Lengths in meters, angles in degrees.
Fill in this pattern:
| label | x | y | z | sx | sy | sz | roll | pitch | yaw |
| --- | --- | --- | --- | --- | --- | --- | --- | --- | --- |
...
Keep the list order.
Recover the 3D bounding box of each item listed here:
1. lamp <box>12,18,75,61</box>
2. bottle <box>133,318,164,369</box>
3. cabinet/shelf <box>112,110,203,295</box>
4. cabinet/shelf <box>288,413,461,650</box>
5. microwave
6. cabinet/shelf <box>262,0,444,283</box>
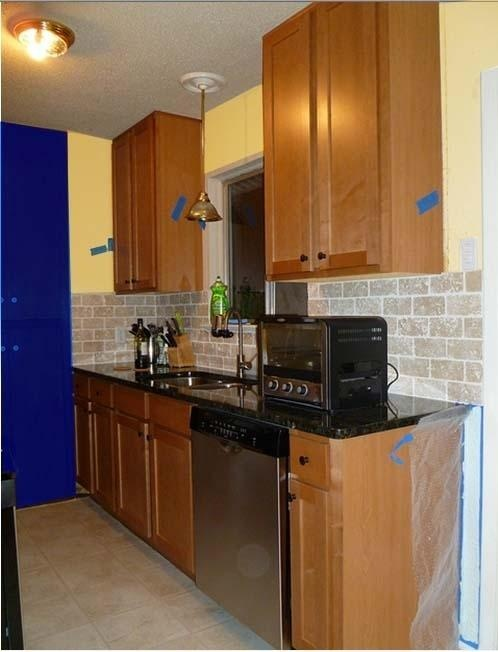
| label | x | y | z | sx | sy | sz | roll | pitch | yaw |
| --- | --- | --- | --- | --- | --- | --- | --- | --- | --- |
| lamp | -0.831 | -1.167 | 2.173 | 0.227 | 0.104 | 0.143 | -1 | 1 | 2 |
| bottle | -0.668 | 0.101 | 3.524 | 0.202 | 0.308 | 0.631 | -1 | 1 | -10 |
| cabinet/shelf | -0.533 | -0.770 | 3.265 | 0.445 | 1.546 | 0.908 | 0 | 2 | -21 |
| cabinet/shelf | 0.432 | 0.673 | 1.669 | 0.604 | 0.781 | 0.230 | -1 | 2 | -25 |
| microwave | 0.267 | 0.131 | 1.901 | 0.262 | 0.369 | 0.452 | 3 | -4 | -29 |
| cabinet/shelf | 0.320 | -0.686 | 1.964 | 0.696 | 1.028 | 0.305 | 1 | 2 | 44 |
